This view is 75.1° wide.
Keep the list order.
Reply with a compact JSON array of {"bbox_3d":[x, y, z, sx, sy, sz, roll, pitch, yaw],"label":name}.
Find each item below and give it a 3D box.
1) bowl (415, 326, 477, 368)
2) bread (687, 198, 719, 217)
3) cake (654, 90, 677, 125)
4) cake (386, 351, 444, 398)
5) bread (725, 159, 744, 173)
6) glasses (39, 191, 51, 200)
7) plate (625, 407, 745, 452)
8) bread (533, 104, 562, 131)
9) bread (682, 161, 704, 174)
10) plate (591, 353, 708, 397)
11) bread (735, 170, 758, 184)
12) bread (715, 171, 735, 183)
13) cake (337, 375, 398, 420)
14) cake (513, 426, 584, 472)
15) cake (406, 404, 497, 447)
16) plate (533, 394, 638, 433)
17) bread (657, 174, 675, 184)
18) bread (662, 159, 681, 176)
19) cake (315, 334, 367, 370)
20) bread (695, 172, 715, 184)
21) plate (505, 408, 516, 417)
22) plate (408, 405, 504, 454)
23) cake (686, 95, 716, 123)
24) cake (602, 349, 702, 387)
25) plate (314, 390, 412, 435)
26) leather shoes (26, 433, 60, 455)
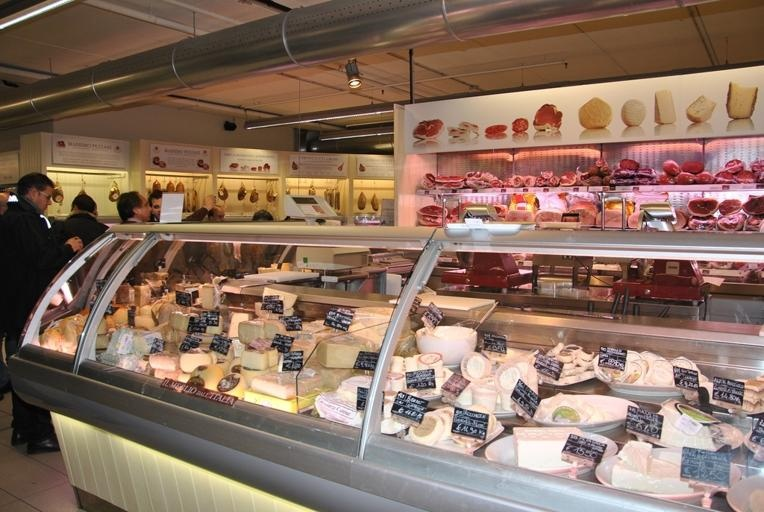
[{"bbox_3d":[0.312,0.426,2.435,0.263,0.100,0.222,0,0,10],"label":"bowl"},{"bbox_3d":[3.475,-0.526,5.430,0.273,0.215,0.124,2,2,16],"label":"bread"},{"bbox_3d":[3.009,-1.583,5.314,0.197,0.356,0.073,2,2,20],"label":"cake"},{"bbox_3d":[0.139,0.519,2.224,0.236,0.053,0.219,8,18,39],"label":"cake"},{"bbox_3d":[3.606,-0.921,5.108,0.189,0.059,0.133,-34,31,-21],"label":"bread"},{"bbox_3d":[-2.841,-0.513,4.205,0.022,0.054,0.065,-7,-8,28],"label":"glasses"},{"bbox_3d":[1.142,0.648,1.813,0.196,0.036,0.195,4,1,-31],"label":"plate"},{"bbox_3d":[1.914,-1.605,5.780,0.321,0.265,0.136,4,0,35],"label":"bread"},{"bbox_3d":[3.248,-0.928,5.248,0.202,0.074,0.178,0,0,-27],"label":"bread"},{"bbox_3d":[1.133,0.513,2.139,0.341,0.039,0.221,2,6,9],"label":"plate"},{"bbox_3d":[3.613,-0.793,4.969,0.191,0.165,0.278,2,2,31],"label":"bread"},{"bbox_3d":[3.444,-0.787,5.016,0.150,0.145,0.051,35,-18,38],"label":"bread"},{"bbox_3d":[-0.096,0.585,2.139,0.230,0.044,0.196,10,11,27],"label":"cake"},{"bbox_3d":[0.568,0.698,1.785,0.233,0.074,0.143,1,2,6],"label":"cake"},{"bbox_3d":[0.251,0.667,1.911,0.229,0.049,0.201,2,12,34],"label":"cake"},{"bbox_3d":[0.820,0.619,1.980,0.274,0.032,0.187,-2,5,-11],"label":"plate"},{"bbox_3d":[2.964,-0.804,5.216,0.146,0.065,0.117,12,18,39],"label":"bread"},{"bbox_3d":[3.070,-0.930,5.305,0.163,0.201,0.264,2,2,27],"label":"bread"},{"bbox_3d":[-0.193,0.437,2.266,0.275,0.092,0.167,4,7,30],"label":"cake"},{"bbox_3d":[3.290,-0.802,5.108,0.159,0.127,0.088,2,2,24],"label":"bread"},{"bbox_3d":[0.525,0.642,2.057,0.046,0.036,0.009,1,2,4],"label":"plate"},{"bbox_3d":[0.282,0.672,1.948,0.260,0.111,0.351,3,3,42],"label":"plate"},{"bbox_3d":[3.301,-1.525,5.178,0.221,0.269,0.087,46,33,25],"label":"cake"},{"bbox_3d":[1.135,0.490,2.155,0.300,0.036,0.192,2,5,16],"label":"cake"},{"bbox_3d":[-0.107,0.612,2.006,0.246,0.053,0.162,12,4,17],"label":"plate"},{"bbox_3d":[-2.595,1.446,3.906,0.310,0.112,0.159,-2,0,-13],"label":"leather shoes"}]
